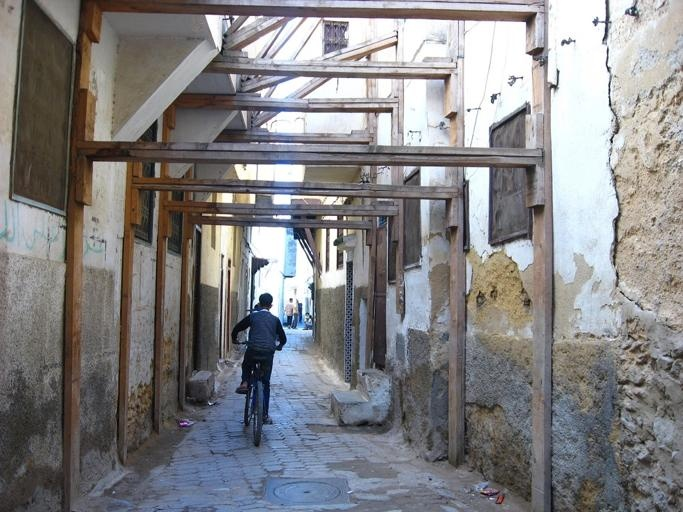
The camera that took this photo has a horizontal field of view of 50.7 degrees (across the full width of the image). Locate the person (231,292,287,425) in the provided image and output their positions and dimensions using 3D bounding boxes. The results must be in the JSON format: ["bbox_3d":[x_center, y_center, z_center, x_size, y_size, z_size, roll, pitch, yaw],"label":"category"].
[{"bbox_3d":[-1.105,1.316,9.366,0.580,1.697,0.621,1,-16,6],"label":"person"}]

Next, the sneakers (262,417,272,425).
[{"bbox_3d":[-0.940,2.053,9.082,0.108,0.137,0.080,1,-1,-10],"label":"sneakers"}]

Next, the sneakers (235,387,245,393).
[{"bbox_3d":[-1.241,1.632,8.903,0.113,0.083,0.175,1,-2,-11],"label":"sneakers"}]
